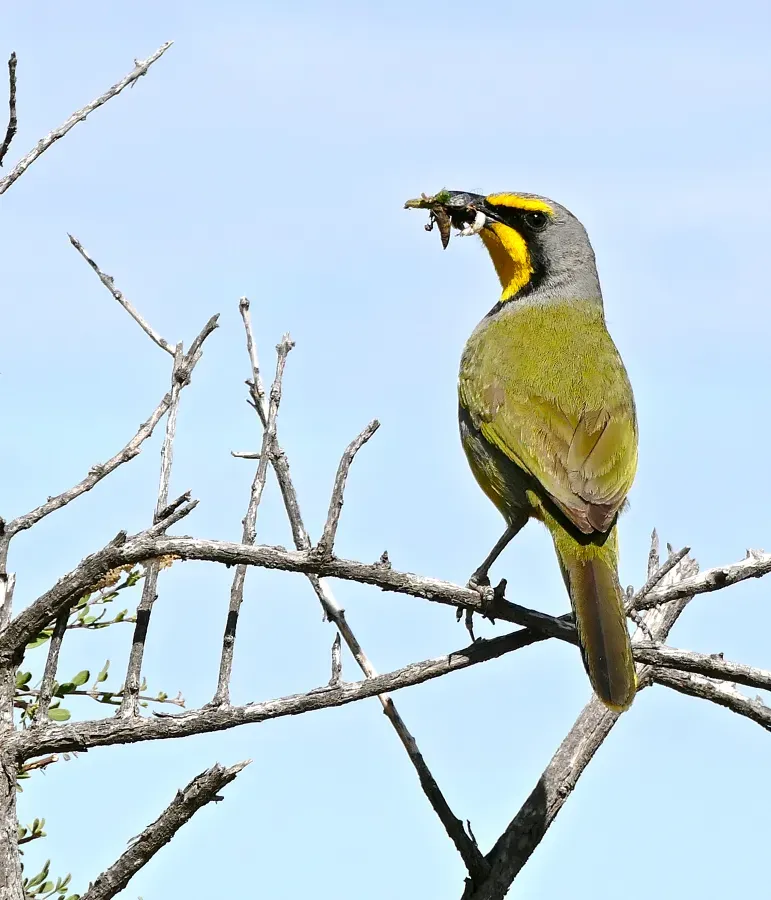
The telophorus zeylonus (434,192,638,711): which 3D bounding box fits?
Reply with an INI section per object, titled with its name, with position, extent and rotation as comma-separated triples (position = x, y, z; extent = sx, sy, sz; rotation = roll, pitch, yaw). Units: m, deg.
[telophorus zeylonus]
position = 0.768, -0.012, 7.814
extent = 1.036, 3.184, 0.754
rotation = -22, -40, 33
